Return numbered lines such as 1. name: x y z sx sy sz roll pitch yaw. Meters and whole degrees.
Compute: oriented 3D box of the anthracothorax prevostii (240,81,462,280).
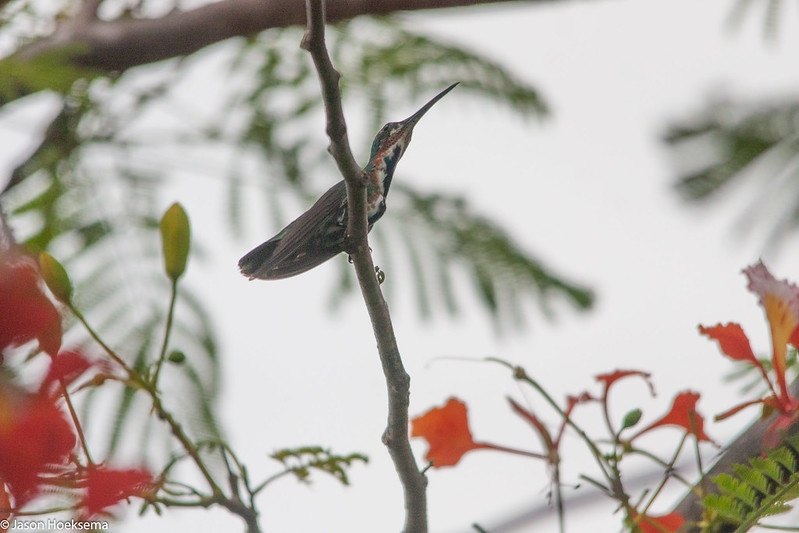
1. anthracothorax prevostii: -0.198 -0.243 5.455 0.820 0.471 0.235 -15 -19 8
